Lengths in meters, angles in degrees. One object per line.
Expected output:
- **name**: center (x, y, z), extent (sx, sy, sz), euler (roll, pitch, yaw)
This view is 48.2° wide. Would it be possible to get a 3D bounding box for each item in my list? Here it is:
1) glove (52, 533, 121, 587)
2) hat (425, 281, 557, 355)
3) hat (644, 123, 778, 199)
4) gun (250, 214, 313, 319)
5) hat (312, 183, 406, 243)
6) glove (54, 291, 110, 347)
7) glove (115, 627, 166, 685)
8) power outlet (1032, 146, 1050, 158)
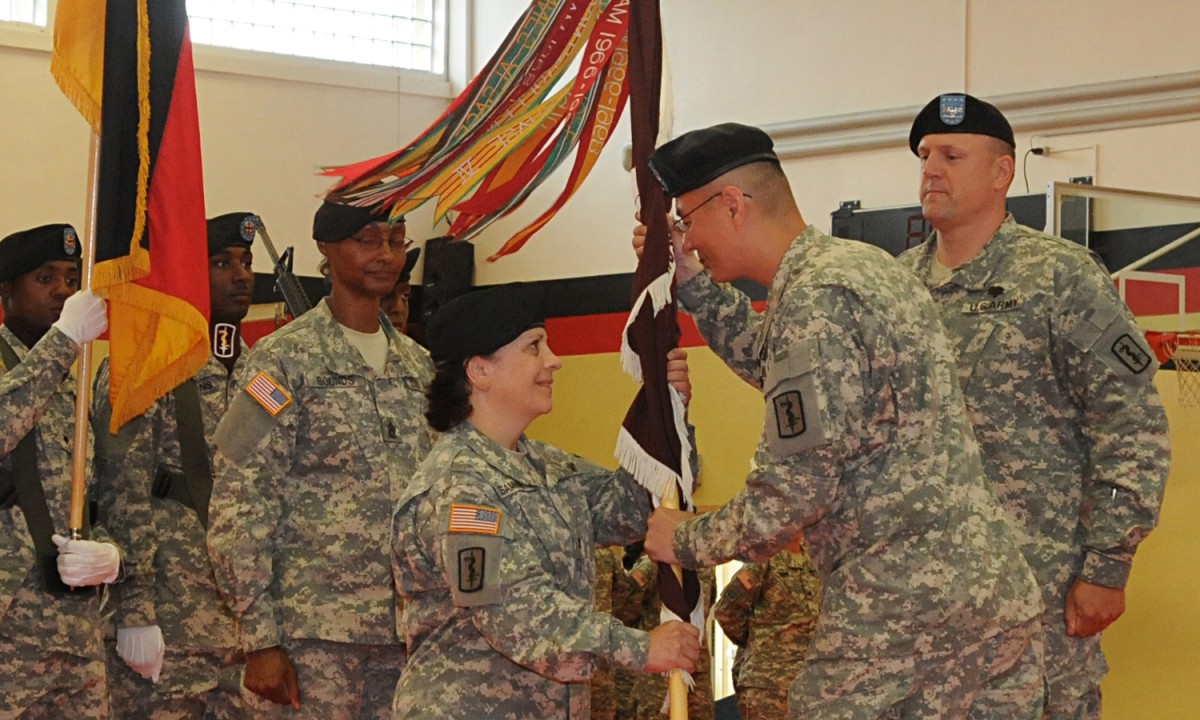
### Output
- **glove**: center (-2.302, 0.905, 6.030), extent (0.283, 0.212, 0.265), euler (0, 7, -11)
- **hat**: center (-0.465, -0.159, 5.418), extent (0.371, 0.161, 0.293), euler (-29, 8, -1)
- **hat**: center (0.430, -0.804, 5.281), extent (0.374, 0.144, 0.308), euler (-31, 0, 30)
- **gun**: center (-2.133, -0.600, 8.883), extent (0.136, 0.790, 0.309), euler (-26, 2, -7)
- **hat**: center (-1.161, -0.682, 6.364), extent (0.323, 0.241, 0.258), euler (25, 22, 38)
- **glove**: center (-2.365, -0.182, 6.114), extent (0.241, 0.264, 0.163), euler (-2, -10, 33)
- **glove**: center (-2.178, 1.388, 6.373), extent (0.275, 0.259, 0.206), euler (1, 2, -19)
- **power outlet**: center (2.740, -1.294, 8.355), extent (0.083, 0.049, 0.033), euler (5, 9, 24)
